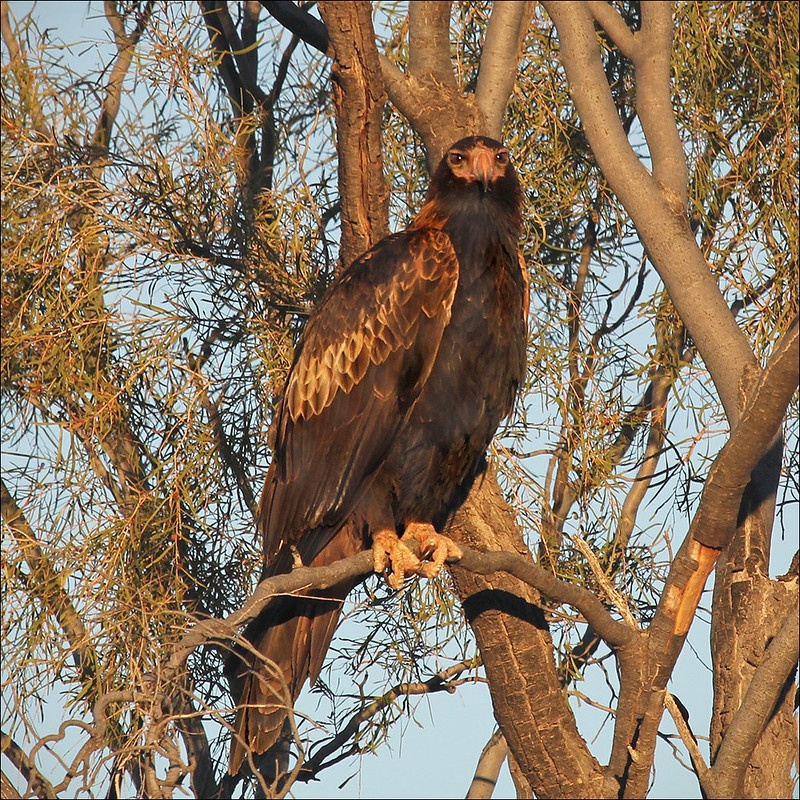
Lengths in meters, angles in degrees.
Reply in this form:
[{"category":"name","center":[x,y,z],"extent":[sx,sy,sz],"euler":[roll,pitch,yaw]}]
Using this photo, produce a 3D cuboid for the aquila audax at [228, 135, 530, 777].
[{"category":"aquila audax","center":[-0.054,0.341,11.134],"extent":[1.325,2.994,1.371],"euler":[-2,-37,5]}]
